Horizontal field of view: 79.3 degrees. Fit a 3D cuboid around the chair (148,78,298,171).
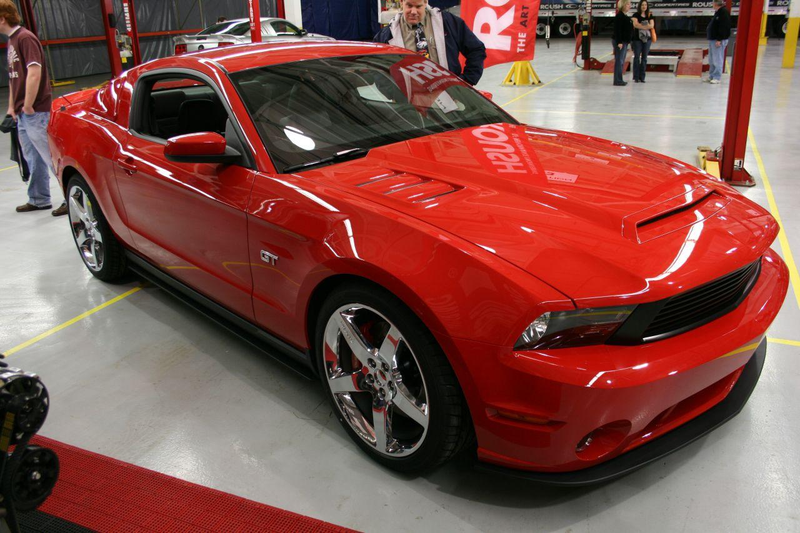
[{"bbox_3d":[-1.112,-0.885,3.047,1.067,0.316,0.622,16,44,11],"label":"chair"}]
